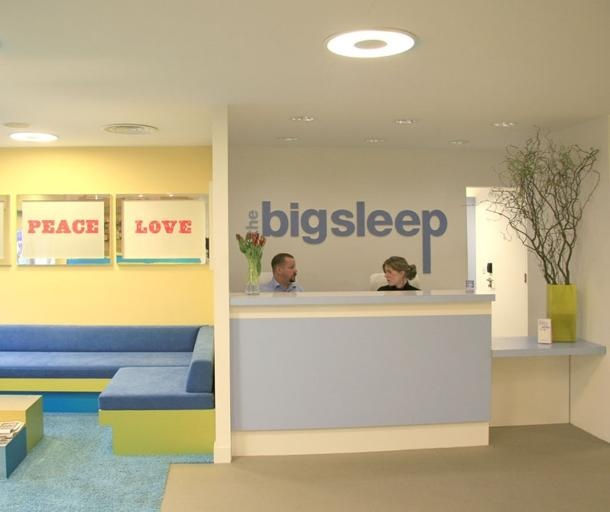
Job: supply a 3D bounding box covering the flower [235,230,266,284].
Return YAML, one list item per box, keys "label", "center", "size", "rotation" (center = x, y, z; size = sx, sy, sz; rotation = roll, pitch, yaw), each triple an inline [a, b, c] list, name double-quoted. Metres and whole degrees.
- label: "flower"
  center: [-0.448, 0.030, 4.523]
  size: [0.276, 0.425, 0.252]
  rotation: [-8, -9, 16]

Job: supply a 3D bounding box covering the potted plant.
- label: "potted plant"
  center: [2.707, -0.317, 6.124]
  size: [0.858, 2.102, 2.724]
  rotation: [1, 4, 16]

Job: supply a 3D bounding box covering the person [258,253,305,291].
- label: "person"
  center: [-0.264, 0.180, 5.593]
  size: [0.345, 0.404, 0.840]
  rotation: [3, 6, 16]

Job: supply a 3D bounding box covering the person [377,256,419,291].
- label: "person"
  center: [1.049, 0.205, 5.836]
  size: [0.412, 0.400, 0.833]
  rotation: [1, 4, 9]
